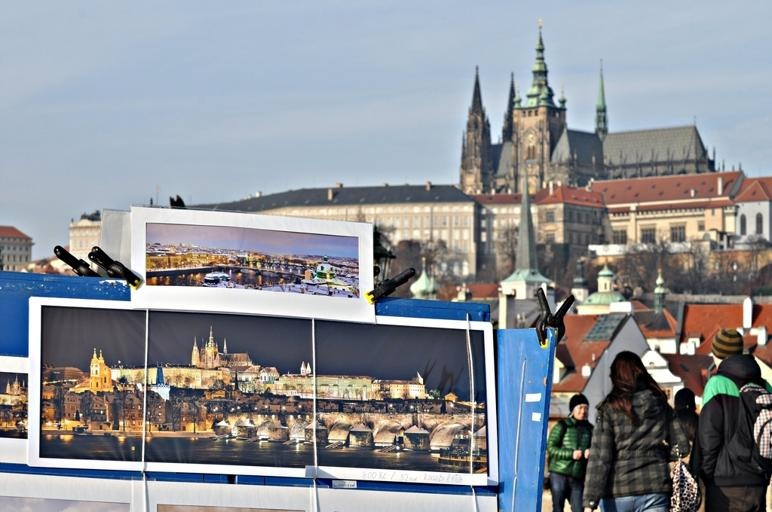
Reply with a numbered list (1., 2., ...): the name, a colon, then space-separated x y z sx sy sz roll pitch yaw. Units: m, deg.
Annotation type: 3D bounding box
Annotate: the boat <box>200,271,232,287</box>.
1. boat: -12.765 1.993 176.739 1.731 0.642 1.009 -4 6 -12
